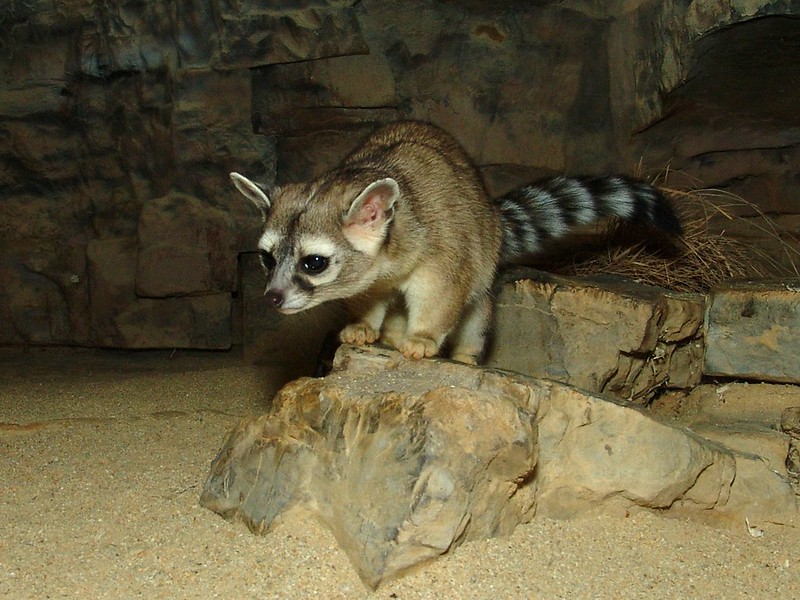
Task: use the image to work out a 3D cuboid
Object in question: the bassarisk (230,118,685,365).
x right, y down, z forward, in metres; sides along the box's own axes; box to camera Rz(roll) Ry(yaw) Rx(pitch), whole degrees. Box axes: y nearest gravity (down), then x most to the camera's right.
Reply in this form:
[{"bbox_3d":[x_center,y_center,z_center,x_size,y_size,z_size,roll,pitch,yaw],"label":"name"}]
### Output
[{"bbox_3d":[0.571,-0.471,7.350,3.514,1.943,1.354,-14,23,-27],"label":"bassarisk"}]
